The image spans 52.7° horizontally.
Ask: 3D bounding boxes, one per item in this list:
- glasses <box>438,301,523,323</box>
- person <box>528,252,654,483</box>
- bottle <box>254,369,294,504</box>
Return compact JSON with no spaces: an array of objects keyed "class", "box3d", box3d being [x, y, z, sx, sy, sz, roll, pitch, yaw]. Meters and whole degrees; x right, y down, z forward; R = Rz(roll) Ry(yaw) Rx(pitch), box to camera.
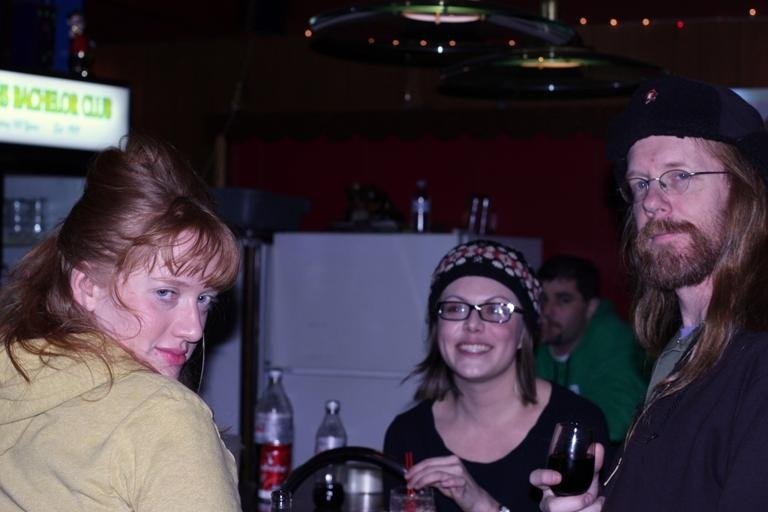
[{"class":"glasses","box3d":[0.350,0.207,2.857,0.302,0.079,0.073,1,-5,9]},{"class":"person","box3d":[1.273,0.590,4.508,0.743,1.436,0.981,3,-4,1]},{"class":"bottle","box3d":[-0.465,0.729,3.234,0.170,0.501,0.379,2,-4,-7]}]
